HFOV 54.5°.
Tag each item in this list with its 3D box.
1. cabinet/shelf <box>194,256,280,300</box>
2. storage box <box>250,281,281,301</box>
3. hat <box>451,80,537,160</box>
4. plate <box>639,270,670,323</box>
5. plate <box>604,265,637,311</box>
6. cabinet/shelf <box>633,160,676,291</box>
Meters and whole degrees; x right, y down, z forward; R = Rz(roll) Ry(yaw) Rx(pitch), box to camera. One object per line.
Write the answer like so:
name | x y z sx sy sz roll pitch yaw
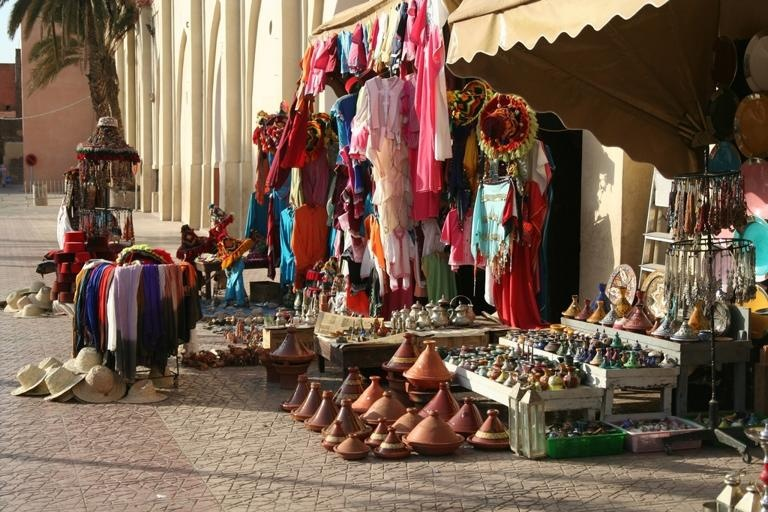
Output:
cabinet/shelf | -2.637 0.379 12.889 1.213 0.773 1.570 1 -1 -24
storage box | -2.005 0.542 12.435 0.380 0.243 0.377 -2 4 -33
hat | 1.167 -1.512 8.248 0.941 0.952 0.308 37 39 25
plate | 2.773 0.414 7.606 0.064 0.478 0.462 8 -11 -17
plate | 2.495 0.346 7.837 0.054 0.410 0.396 11 -10 -17
cabinet/shelf | 2.974 -0.327 8.176 0.312 1.278 0.897 1 -1 19
